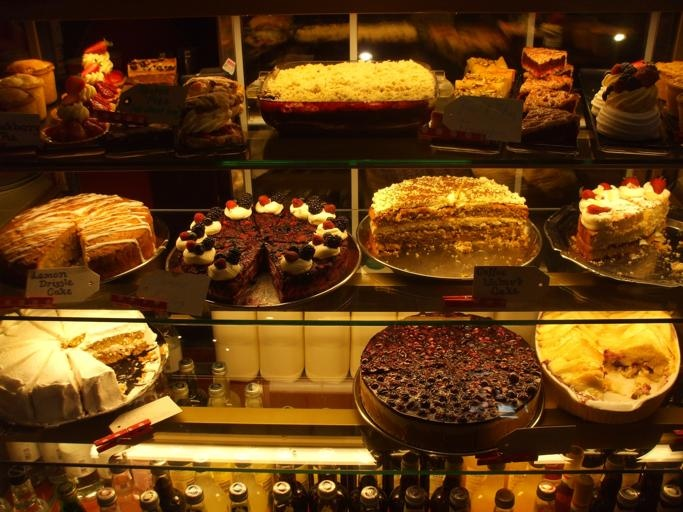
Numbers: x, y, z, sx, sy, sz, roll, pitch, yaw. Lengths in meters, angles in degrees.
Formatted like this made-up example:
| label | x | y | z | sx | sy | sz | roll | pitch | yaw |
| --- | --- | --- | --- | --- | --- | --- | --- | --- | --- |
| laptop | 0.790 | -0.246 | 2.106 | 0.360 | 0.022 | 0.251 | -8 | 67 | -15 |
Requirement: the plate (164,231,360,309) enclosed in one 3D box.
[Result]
| label | x | y | z | sx | sy | sz | roll | pitch | yaw |
| --- | --- | --- | --- | --- | --- | --- | --- | --- | --- |
| plate | -0.216 | 0.059 | 2.242 | 0.629 | 0.163 | 0.501 | -4 | 23 | -1 |

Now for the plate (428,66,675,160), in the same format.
| label | x | y | z | sx | sy | sz | roll | pitch | yaw |
| --- | --- | --- | --- | --- | --- | --- | --- | --- | --- |
| plate | 0.779 | -0.512 | 1.918 | 0.841 | 0.281 | 0.526 | -1 | 24 | 8 |

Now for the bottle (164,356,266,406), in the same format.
| label | x | y | z | sx | sy | sz | roll | pitch | yaw |
| --- | --- | --- | --- | --- | --- | --- | --- | --- | --- |
| bottle | -0.646 | 0.636 | 2.584 | 0.420 | 0.077 | 0.180 | 2 | 33 | 1 |

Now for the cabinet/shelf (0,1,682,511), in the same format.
| label | x | y | z | sx | sy | sz | roll | pitch | yaw |
| --- | --- | --- | --- | --- | --- | --- | --- | --- | --- |
| cabinet/shelf | 0.025 | 0.017 | 2.206 | 3.005 | 0.612 | 1.545 | 0 | 63 | 5 |

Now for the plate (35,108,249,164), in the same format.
| label | x | y | z | sx | sy | sz | roll | pitch | yaw |
| --- | --- | --- | --- | --- | --- | --- | --- | --- | --- |
| plate | -0.721 | -0.425 | 1.892 | 0.786 | 0.167 | 0.222 | -2 | 25 | 4 |

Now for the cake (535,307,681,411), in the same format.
| label | x | y | z | sx | sy | sz | roll | pitch | yaw |
| --- | --- | --- | --- | --- | --- | --- | --- | --- | --- |
| cake | 1.188 | 0.468 | 2.353 | 0.534 | 0.184 | 0.617 | -3 | 24 | 8 |

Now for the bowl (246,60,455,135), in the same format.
| label | x | y | z | sx | sy | sz | roll | pitch | yaw |
| --- | --- | --- | --- | --- | --- | --- | --- | --- | --- |
| bowl | 0.021 | -0.568 | 1.923 | 0.560 | 0.127 | 0.352 | 1 | 29 | 7 |
